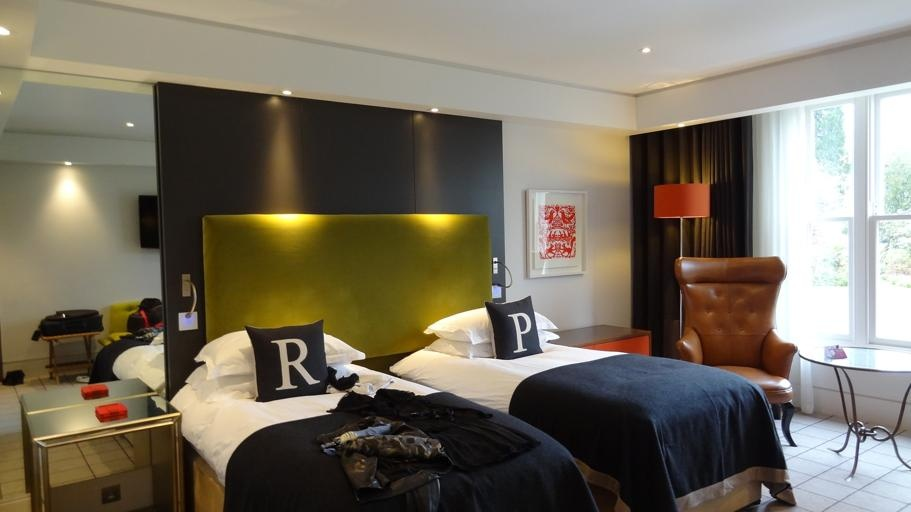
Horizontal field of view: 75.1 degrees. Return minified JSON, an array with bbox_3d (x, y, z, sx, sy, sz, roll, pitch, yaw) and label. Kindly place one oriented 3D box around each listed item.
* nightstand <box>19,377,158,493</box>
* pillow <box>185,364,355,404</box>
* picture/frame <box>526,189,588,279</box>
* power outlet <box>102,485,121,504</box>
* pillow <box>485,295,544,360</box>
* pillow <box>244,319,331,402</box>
[{"bbox_3d":[-3.172,1.299,5.197,1.229,0.928,0.943,-4,21,-31],"label":"nightstand"},{"bbox_3d":[-1.849,1.158,5.379,0.726,0.175,0.604,1,-3,-30],"label":"pillow"},{"bbox_3d":[1.218,-0.302,7.329,1.244,1.295,0.102,-1,2,-35],"label":"picture/frame"},{"bbox_3d":[-2.951,2.046,5.100,0.169,0.141,0.039,-1,7,-37],"label":"power outlet"},{"bbox_3d":[0.617,0.743,6.097,0.643,0.540,0.185,-3,-19,-31],"label":"pillow"},{"bbox_3d":[-1.506,0.965,5.410,0.831,0.684,0.288,-2,-8,-39],"label":"pillow"}]
